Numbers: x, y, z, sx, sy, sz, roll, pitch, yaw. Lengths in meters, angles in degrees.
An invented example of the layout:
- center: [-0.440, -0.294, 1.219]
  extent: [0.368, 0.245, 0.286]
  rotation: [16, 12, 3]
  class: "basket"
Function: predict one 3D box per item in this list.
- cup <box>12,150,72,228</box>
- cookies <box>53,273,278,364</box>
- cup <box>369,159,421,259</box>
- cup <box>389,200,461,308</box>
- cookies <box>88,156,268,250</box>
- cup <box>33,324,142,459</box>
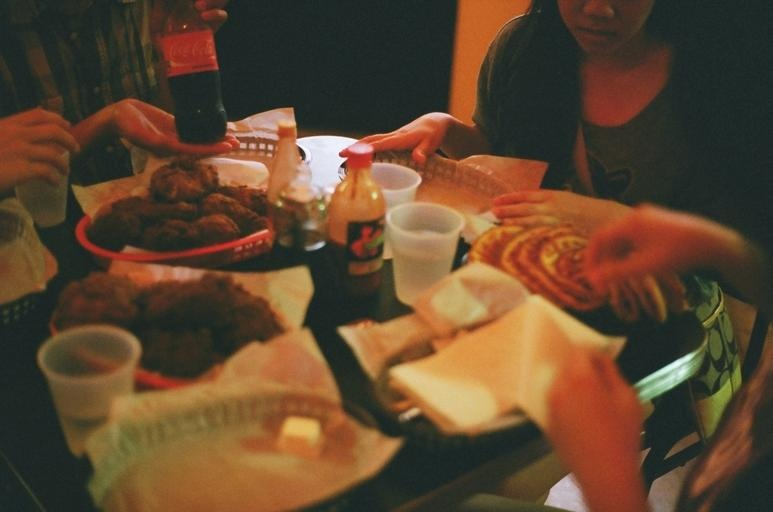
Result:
- center: [-0.826, -0.147, 1.638]
  extent: [0.085, 0.131, 0.144]
  rotation: [13, 32, 34]
  class: "cup"
- center: [-0.455, 0.149, 1.444]
  extent: [0.401, 0.120, 0.207]
  rotation: [3, 59, -4]
  class: "cookies"
- center: [0.028, -0.124, 1.715]
  extent: [0.193, 0.209, 0.201]
  rotation: [1, 32, -1]
  class: "cup"
- center: [0.051, -0.013, 1.598]
  extent: [0.209, 0.214, 0.212]
  rotation: [1, 34, 0]
  class: "cup"
- center: [-0.483, -0.119, 1.562]
  extent: [0.298, 0.062, 0.228]
  rotation: [-6, 44, -15]
  class: "cookies"
- center: [-0.585, 0.275, 1.320]
  extent: [0.144, 0.154, 0.150]
  rotation: [7, 40, -6]
  class: "cup"
